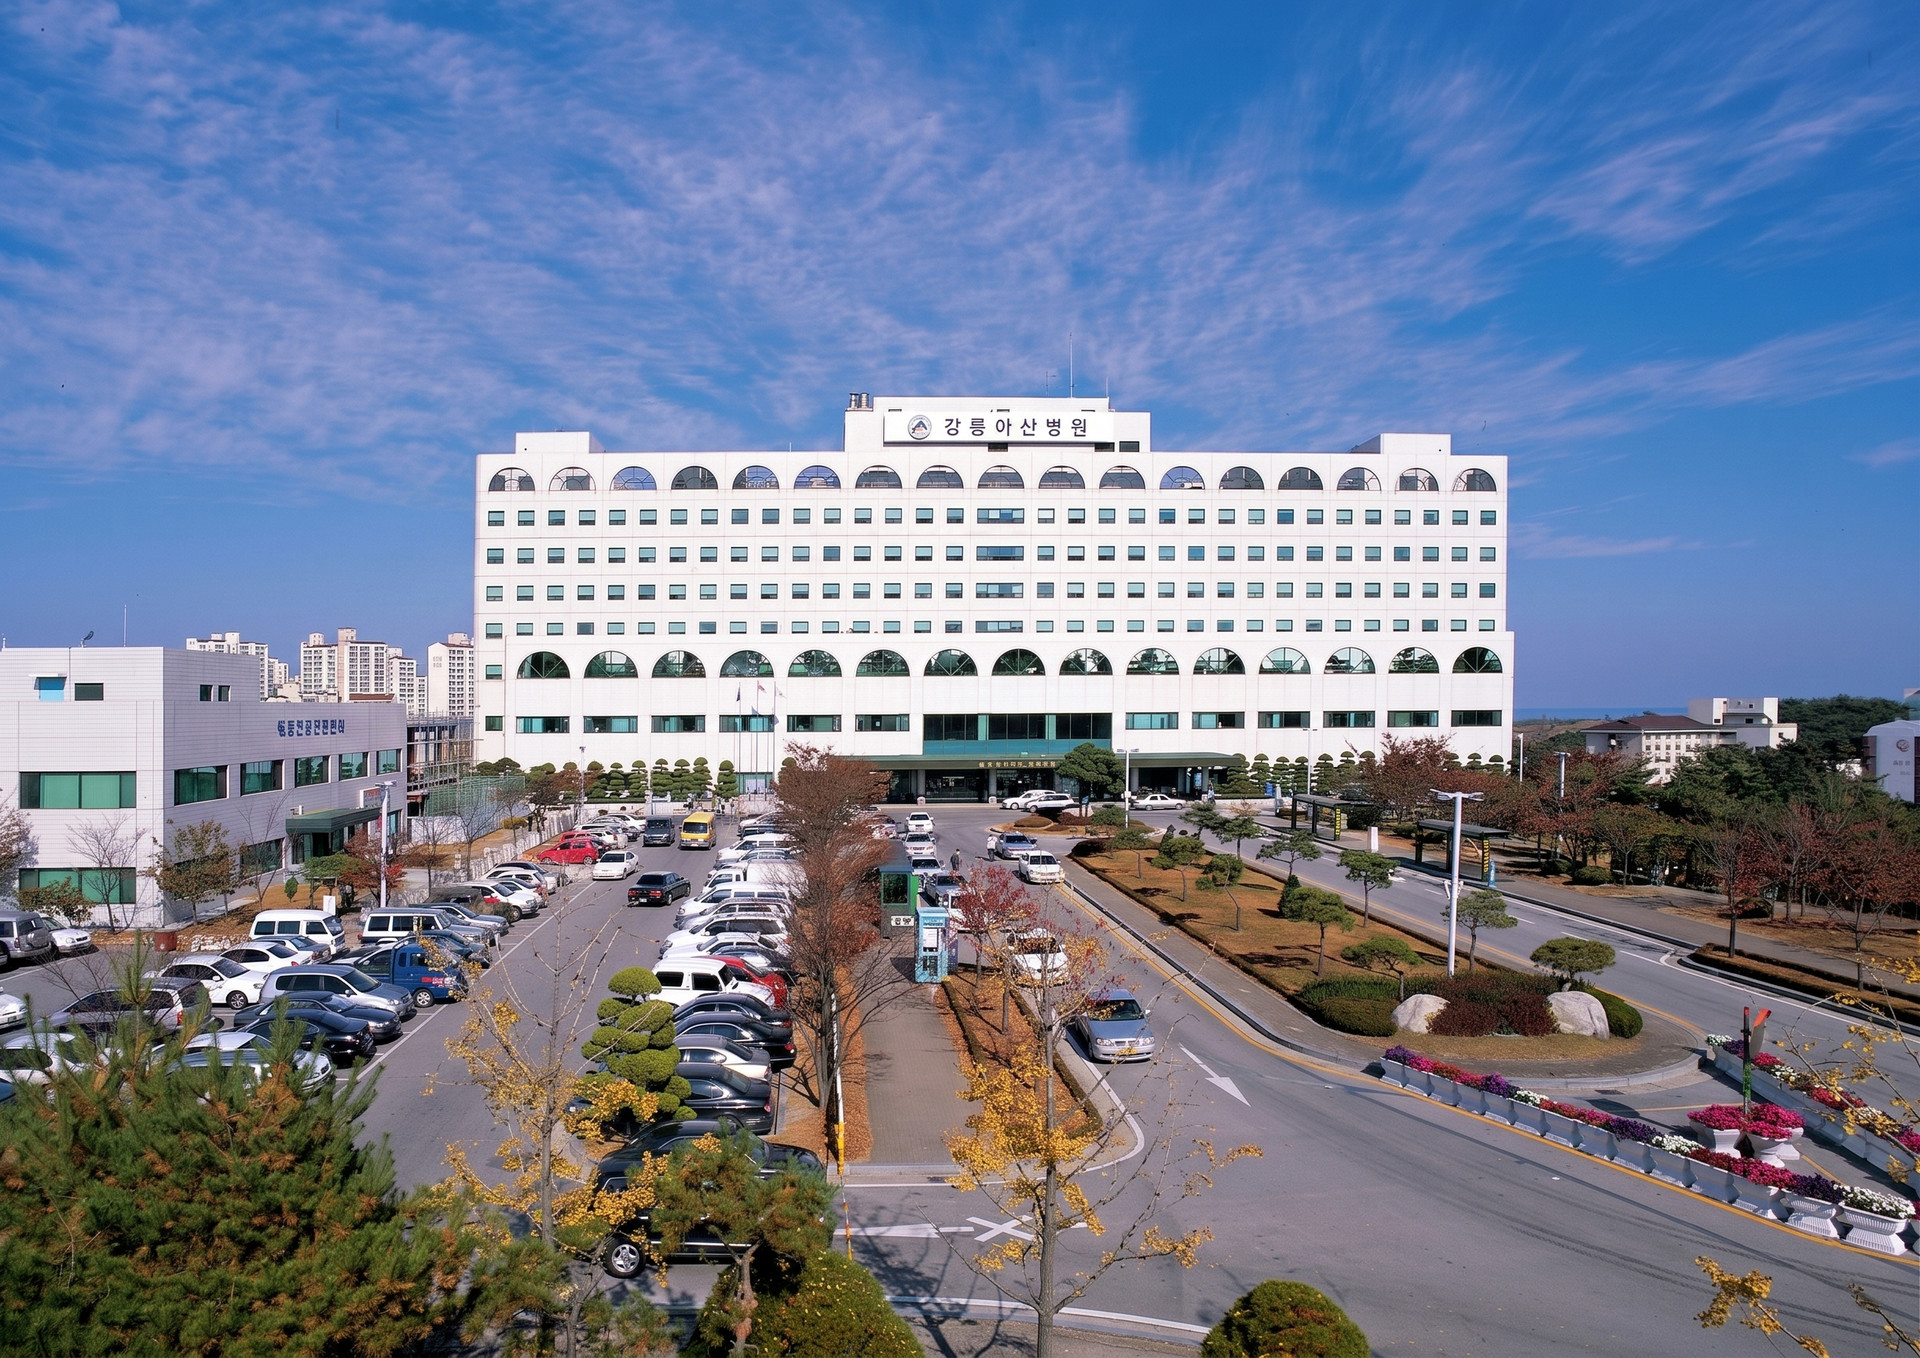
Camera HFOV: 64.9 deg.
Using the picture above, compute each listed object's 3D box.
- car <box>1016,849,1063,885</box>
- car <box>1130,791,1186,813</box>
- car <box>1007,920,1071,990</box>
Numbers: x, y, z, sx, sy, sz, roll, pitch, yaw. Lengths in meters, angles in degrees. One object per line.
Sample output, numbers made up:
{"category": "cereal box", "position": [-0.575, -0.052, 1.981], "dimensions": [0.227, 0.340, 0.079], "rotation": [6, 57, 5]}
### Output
{"category": "car", "position": [3.633, 8.958, 71.055], "dimensions": [1.809, 1.036, 2.376], "rotation": [-1, 9, -15]}
{"category": "car", "position": [13.314, 8.330, 101.554], "dimensions": [3.307, 0.876, 1.389], "rotation": [-2, 1, -4]}
{"category": "car", "position": [2.327, 8.049, 43.871], "dimensions": [2.066, 1.288, 4.112], "rotation": [0, -10, -5]}
